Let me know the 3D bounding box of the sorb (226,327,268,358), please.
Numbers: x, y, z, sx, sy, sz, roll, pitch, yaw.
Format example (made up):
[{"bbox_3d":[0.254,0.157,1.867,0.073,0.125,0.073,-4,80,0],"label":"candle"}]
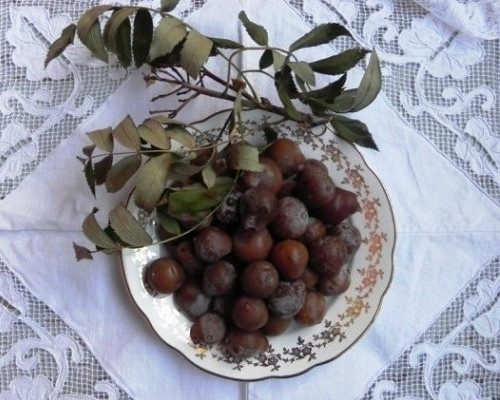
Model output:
[{"bbox_3d":[-0.010,0.338,1.523,0.075,0.050,0.068,-6,69,-4],"label":"sorb"}]

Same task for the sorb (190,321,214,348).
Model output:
[{"bbox_3d":[-0.111,0.318,1.573,0.034,0.050,0.063,-5,71,-40],"label":"sorb"}]

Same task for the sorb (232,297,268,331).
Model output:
[{"bbox_3d":[0.000,0.263,1.544,0.070,0.072,0.084,8,93,-11],"label":"sorb"}]

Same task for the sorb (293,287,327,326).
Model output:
[{"bbox_3d":[0.154,0.251,1.520,0.062,0.042,0.082,2,83,-3],"label":"sorb"}]

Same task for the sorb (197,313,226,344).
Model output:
[{"bbox_3d":[-0.090,0.301,1.533,0.056,0.035,0.070,2,90,0],"label":"sorb"}]

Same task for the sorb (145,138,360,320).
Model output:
[{"bbox_3d":[0.019,0.131,1.524,0.434,0.195,0.440,-30,87,-18],"label":"sorb"}]
